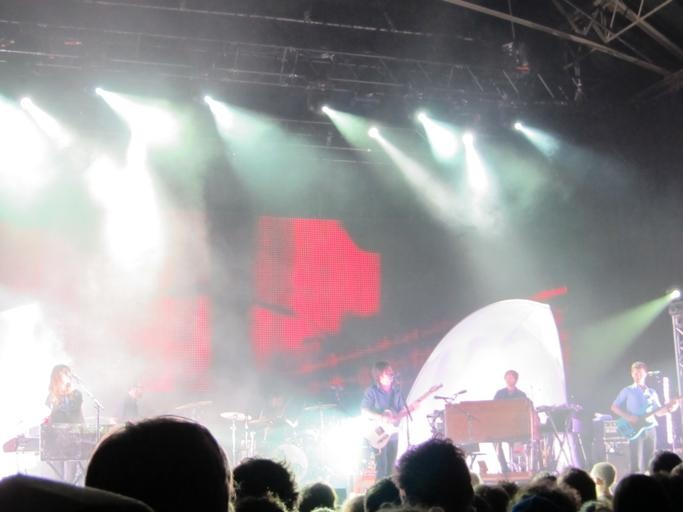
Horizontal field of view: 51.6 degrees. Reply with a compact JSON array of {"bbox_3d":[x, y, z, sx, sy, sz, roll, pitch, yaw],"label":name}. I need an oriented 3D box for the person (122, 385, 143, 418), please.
[{"bbox_3d":[-3.564,2.486,11.948,0.271,0.668,0.789,5,-21,-16],"label":"person"}]
